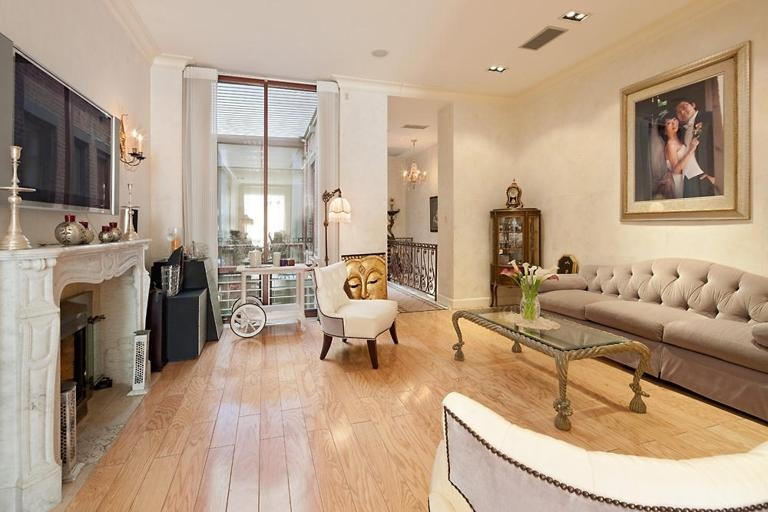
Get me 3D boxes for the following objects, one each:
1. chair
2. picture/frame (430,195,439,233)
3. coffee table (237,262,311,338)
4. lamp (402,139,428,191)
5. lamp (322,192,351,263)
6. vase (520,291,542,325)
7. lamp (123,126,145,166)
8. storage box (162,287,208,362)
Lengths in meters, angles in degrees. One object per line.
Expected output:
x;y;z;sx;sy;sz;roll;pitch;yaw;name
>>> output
-0.233;0.671;5.938;0.977;1.231;1.207;1;3;11;chair
1.068;-0.927;10.682;0.056;0.778;0.303;-2;4;-26;picture/frame
-1.531;0.564;6.635;1.057;0.905;0.683;-4;7;-19;coffee table
0.654;-2.024;10.637;0.494;0.984;0.502;3;15;14;lamp
-0.692;-0.432;7.010;0.353;1.124;0.722;-1;4;-8;lamp
1.510;0.555;5.104;0.251;0.382;0.265;-2;0;13;vase
-3.062;-1.347;6.054;0.133;0.487;0.657;-1;4;-14;lamp
-2.269;0.791;5.537;0.276;0.715;0.811;-1;1;-12;storage box
